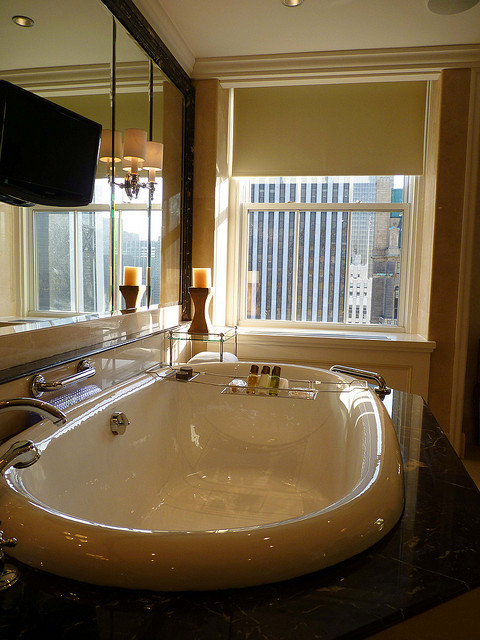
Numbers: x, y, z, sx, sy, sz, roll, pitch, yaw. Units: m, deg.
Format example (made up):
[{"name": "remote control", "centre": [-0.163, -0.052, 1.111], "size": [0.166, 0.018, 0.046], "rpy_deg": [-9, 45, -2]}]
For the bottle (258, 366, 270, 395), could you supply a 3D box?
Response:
[{"name": "bottle", "centre": [0.098, 0.248, 1.890], "size": [0.030, 0.027, 0.115], "rpy_deg": [-1, 51, 14]}]

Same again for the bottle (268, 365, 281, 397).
[{"name": "bottle", "centre": [0.140, 0.251, 1.900], "size": [0.032, 0.032, 0.125], "rpy_deg": [-4, 44, 15]}]

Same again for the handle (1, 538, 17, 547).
[{"name": "handle", "centre": [-0.334, 0.320, 0.678], "size": [0.009, 0.006, 0.017], "rpy_deg": [24, -17, -34]}]

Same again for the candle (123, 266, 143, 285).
[{"name": "candle", "centre": [-0.485, -0.197, 2.134], "size": [0.071, 0.077, 0.073], "rpy_deg": [12, 18, 26]}]

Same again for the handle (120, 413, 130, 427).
[{"name": "handle", "centre": [-0.368, 0.320, 1.495], "size": [0.008, 0.034, 0.033], "rpy_deg": [-11, -18, 25]}]

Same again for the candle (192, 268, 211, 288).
[{"name": "candle", "centre": [-0.222, -0.236, 2.691], "size": [0.098, 0.105, 0.071], "rpy_deg": [2, 6, -1]}]

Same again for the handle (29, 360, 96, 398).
[{"name": "handle", "centre": [-0.528, 0.176, 1.429], "size": [0.074, 0.074, 0.301], "rpy_deg": [3, 6, 6]}]
